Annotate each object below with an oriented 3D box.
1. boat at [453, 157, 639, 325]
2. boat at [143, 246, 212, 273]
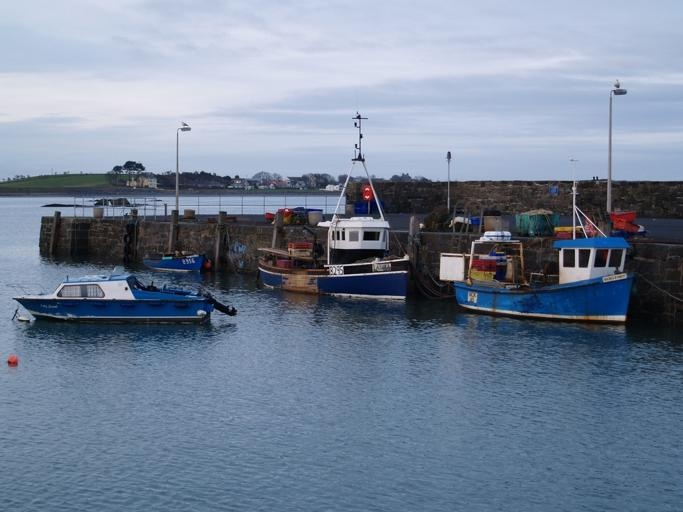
[{"bbox_3d":[7.310,0.397,32.941,2.755,3.686,7.482,0,1,-38],"label":"boat"},{"bbox_3d":[-8.517,0.337,45.898,3.378,0.950,1.088,4,9,32],"label":"boat"}]
